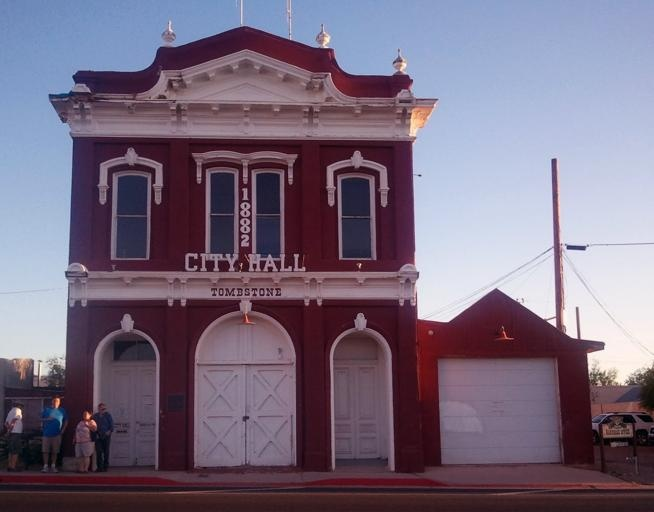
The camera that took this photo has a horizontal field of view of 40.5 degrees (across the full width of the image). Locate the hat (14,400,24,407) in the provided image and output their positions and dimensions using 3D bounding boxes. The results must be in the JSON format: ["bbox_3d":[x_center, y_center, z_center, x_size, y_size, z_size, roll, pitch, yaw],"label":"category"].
[{"bbox_3d":[-9.960,4.722,28.509,0.382,0.134,0.390,-1,-15,-3],"label":"hat"}]

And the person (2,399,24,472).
[{"bbox_3d":[-9.099,5.292,25.743,0.419,1.659,0.613,1,4,-20],"label":"person"}]

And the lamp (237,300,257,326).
[{"bbox_3d":[-2.415,1.667,26.475,0.426,0.816,0.446,3,4,-2],"label":"lamp"}]

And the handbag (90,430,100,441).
[{"bbox_3d":[-6.707,5.171,25.528,0.223,0.400,0.215,-3,-5,27],"label":"handbag"}]

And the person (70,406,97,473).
[{"bbox_3d":[-6.919,5.311,25.420,0.534,1.713,0.638,6,5,39],"label":"person"}]

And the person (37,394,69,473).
[{"bbox_3d":[-7.886,5.071,25.369,0.603,2.065,0.640,5,5,29],"label":"person"}]
